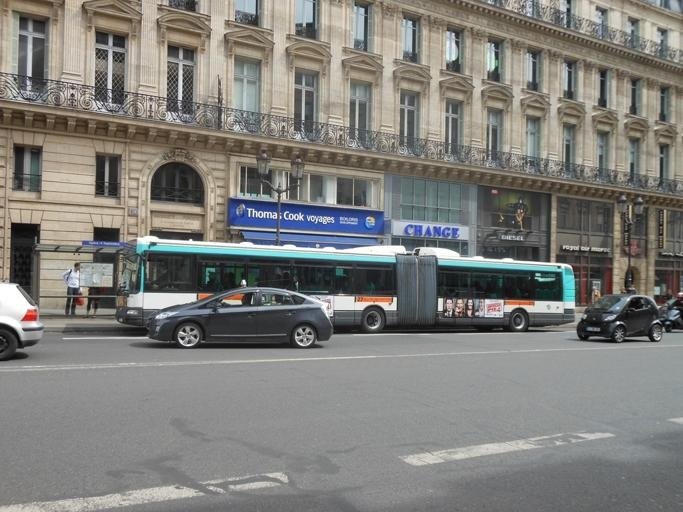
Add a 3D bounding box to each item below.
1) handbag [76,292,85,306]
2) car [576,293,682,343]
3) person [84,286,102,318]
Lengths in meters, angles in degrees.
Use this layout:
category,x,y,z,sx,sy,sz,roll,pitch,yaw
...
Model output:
category,x,y,z,sx,sy,sz,roll,pitch,yaw
handbag,-9.764,1.592,33.299,0.264,0.557,0.498,-10,0,1
car,10.124,2.340,32.247,2.671,1.528,1.618,6,-10,-30
person,-9.363,1.750,33.613,0.502,1.244,3.026,-1,10,-15
